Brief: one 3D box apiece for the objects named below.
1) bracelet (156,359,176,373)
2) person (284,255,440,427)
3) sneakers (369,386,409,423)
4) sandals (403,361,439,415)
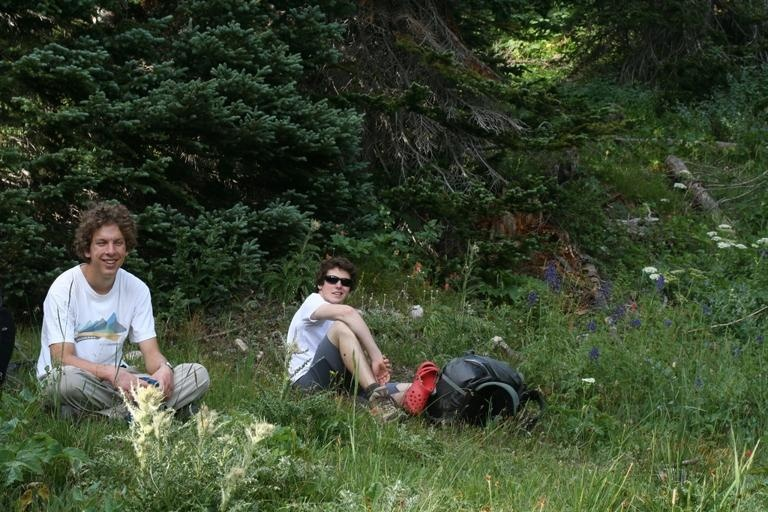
[{"bbox_3d":[-1.989,1.015,6.801,0.091,0.095,0.100,10,27,-12],"label":"bracelet"},{"bbox_3d":[-0.229,0.758,7.634,1.462,1.632,0.977,1,-8,24],"label":"person"},{"bbox_3d":[-0.004,1.389,7.034,0.195,0.275,0.588,-11,12,-24],"label":"sneakers"},{"bbox_3d":[0.408,1.184,7.206,0.217,0.632,0.241,25,-35,1],"label":"sandals"}]
